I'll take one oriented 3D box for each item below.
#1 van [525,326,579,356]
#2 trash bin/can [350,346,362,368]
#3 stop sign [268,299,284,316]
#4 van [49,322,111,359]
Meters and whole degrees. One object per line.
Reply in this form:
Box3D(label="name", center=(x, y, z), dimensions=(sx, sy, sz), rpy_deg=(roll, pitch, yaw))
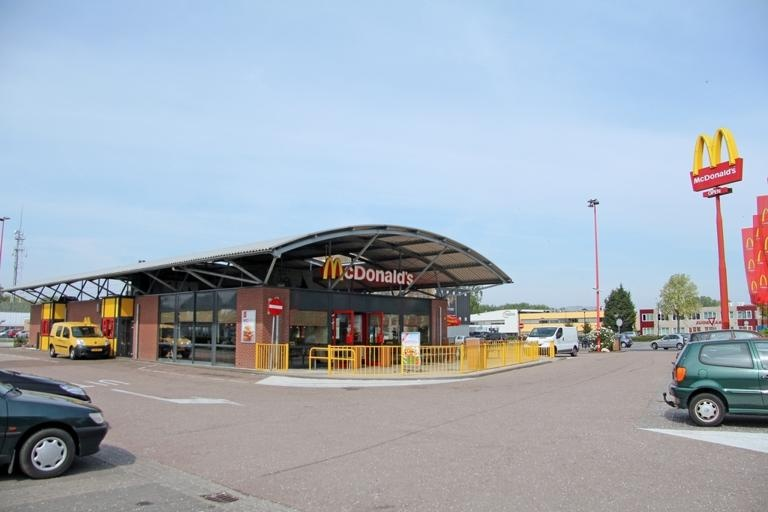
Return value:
Box3D(label="van", center=(10.916, 5.541, 41.688), dimensions=(2.222, 1.907, 3.325), rpy_deg=(-7, -12, 38))
Box3D(label="trash bin/can", center=(-1.253, 4.495, 28.401), dimensions=(0.439, 0.982, 1.394), rpy_deg=(0, -9, -5))
Box3D(label="stop sign", center=(-4.956, 2.343, 29.474), dimensions=(0.802, 0.904, 0.659), rpy_deg=(4, -9, -24))
Box3D(label="van", center=(-18.022, 5.040, 37.918), dimensions=(2.048, 1.676, 3.837), rpy_deg=(7, -11, -42))
